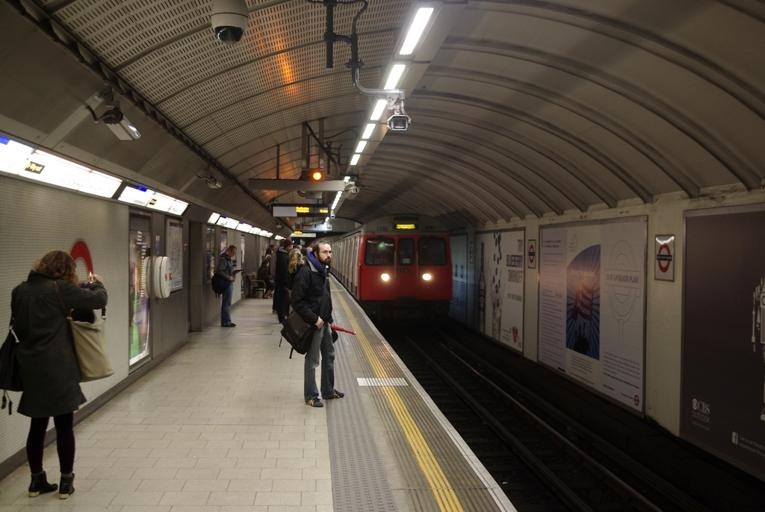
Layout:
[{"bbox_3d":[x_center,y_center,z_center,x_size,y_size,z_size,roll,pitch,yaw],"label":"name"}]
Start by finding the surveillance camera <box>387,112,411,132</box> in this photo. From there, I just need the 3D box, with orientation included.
[{"bbox_3d":[0.217,-2.023,6.602,0.309,0.217,0.318,-1,3,-2],"label":"surveillance camera"}]

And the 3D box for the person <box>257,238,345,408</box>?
[{"bbox_3d":[-1.044,1.032,6.659,0.642,2.490,0.824,0,3,25],"label":"person"}]

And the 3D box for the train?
[{"bbox_3d":[-0.772,0.313,23.192,3.184,4.150,15.306,2,1,-12],"label":"train"}]

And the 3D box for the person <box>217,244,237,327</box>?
[{"bbox_3d":[-4.532,0.844,12.686,0.764,2.319,0.863,0,-3,-33],"label":"person"}]

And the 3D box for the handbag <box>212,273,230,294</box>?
[{"bbox_3d":[-4.532,0.779,12.442,0.452,0.561,0.567,6,-15,-18],"label":"handbag"}]

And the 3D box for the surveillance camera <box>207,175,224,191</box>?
[{"bbox_3d":[-4.151,-1.843,10.687,0.373,0.186,0.506,17,-12,-38],"label":"surveillance camera"}]

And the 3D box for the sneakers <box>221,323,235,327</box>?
[{"bbox_3d":[-4.492,1.992,12.727,0.365,0.163,0.125,-1,0,-7],"label":"sneakers"}]

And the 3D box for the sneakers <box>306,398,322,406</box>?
[{"bbox_3d":[-1.052,2.220,6.697,0.103,0.115,0.280,3,-7,-43],"label":"sneakers"}]

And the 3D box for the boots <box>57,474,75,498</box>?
[{"bbox_3d":[-3.303,2.362,4.533,0.103,0.178,0.256,1,3,-7],"label":"boots"}]

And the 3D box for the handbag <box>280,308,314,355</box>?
[{"bbox_3d":[-1.247,1.094,6.465,0.523,0.639,0.263,-1,3,3],"label":"handbag"}]

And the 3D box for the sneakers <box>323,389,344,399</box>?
[{"bbox_3d":[-0.770,2.137,6.906,0.328,0.154,0.135,-1,2,-12],"label":"sneakers"}]

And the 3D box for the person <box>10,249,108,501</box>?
[{"bbox_3d":[-3.434,1.203,4.606,0.919,2.527,0.490,-3,3,-31],"label":"person"}]
